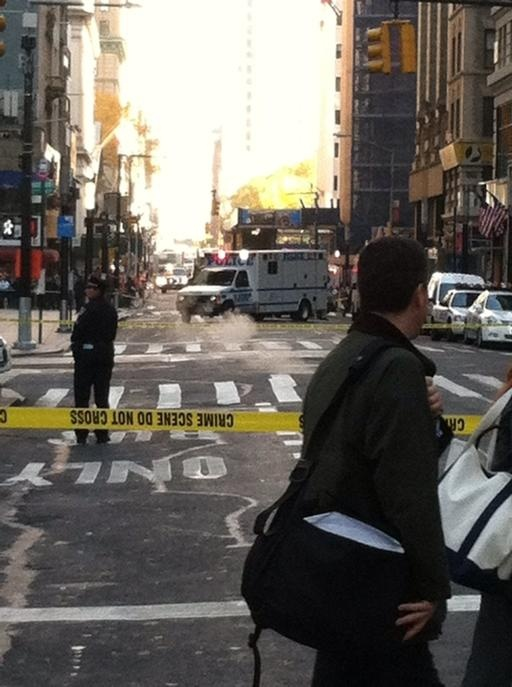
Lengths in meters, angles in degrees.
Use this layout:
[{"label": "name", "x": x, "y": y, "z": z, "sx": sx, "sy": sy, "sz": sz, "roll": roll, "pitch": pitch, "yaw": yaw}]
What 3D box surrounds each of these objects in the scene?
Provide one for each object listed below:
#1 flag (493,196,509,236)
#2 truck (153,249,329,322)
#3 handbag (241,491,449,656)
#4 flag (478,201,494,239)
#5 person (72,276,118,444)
[{"label": "flag", "x": 13.397, "y": -6.857, "z": 47.396, "sx": 0.704, "sy": 1.897, "sz": 2.100, "roll": 0, "pitch": 3, "yaw": 18}, {"label": "truck", "x": -0.275, "y": -2.716, "z": 42.160, "sx": 5.711, "sy": 3.029, "sz": 4.032, "roll": -1, "pitch": 1, "yaw": -41}, {"label": "handbag", "x": 0.196, "y": 0.546, "z": 2.110, "sx": 0.403, "sy": 0.401, "sz": 0.311, "roll": 13, "pitch": -19, "yaw": -4}, {"label": "flag", "x": 12.543, "y": -6.601, "z": 47.089, "sx": 0.489, "sy": 1.561, "sz": 1.059, "roll": -1, "pitch": 2, "yaw": -11}, {"label": "person", "x": -2.223, "y": -0.001, "z": 11.809, "sx": 0.485, "sy": 1.818, "sz": 0.818, "roll": 0, "pitch": 2, "yaw": 26}]
